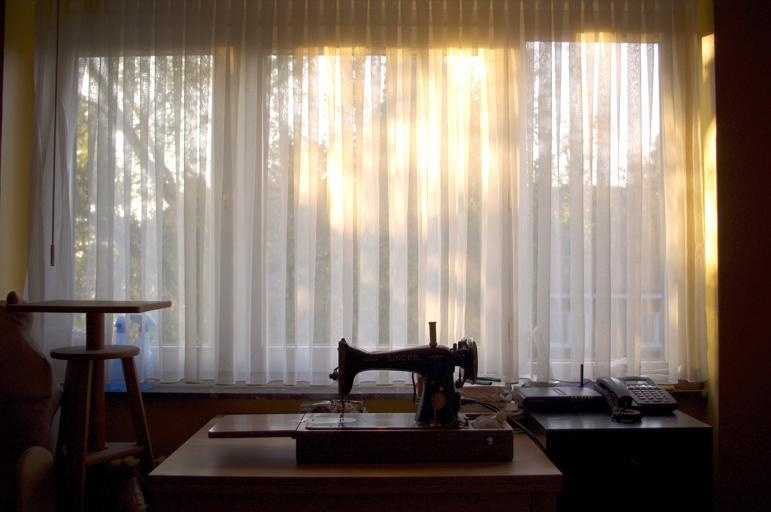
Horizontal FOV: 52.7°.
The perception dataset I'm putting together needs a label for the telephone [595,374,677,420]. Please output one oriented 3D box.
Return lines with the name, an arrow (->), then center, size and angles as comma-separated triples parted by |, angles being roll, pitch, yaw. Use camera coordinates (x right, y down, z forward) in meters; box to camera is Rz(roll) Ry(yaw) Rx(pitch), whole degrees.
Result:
telephone -> 1.366, 0.759, 4.228 | 0.358, 0.169, 0.273 | 1, 1, -21
